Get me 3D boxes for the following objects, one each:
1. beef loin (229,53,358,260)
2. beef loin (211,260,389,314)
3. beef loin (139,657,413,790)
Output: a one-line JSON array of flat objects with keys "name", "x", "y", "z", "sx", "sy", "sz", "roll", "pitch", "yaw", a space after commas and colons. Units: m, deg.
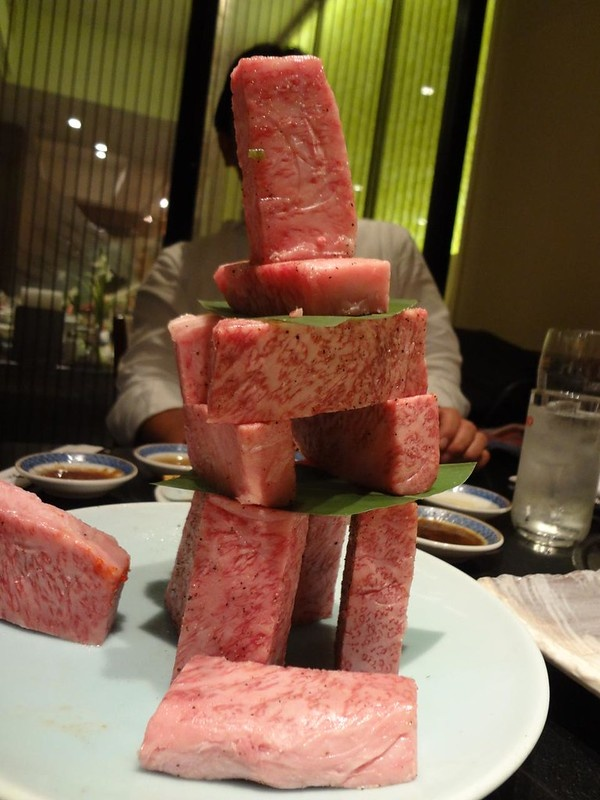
[{"name": "beef loin", "x": -0.007, "y": -0.333, "z": 0.980, "sx": 0.152, "sy": 0.272, "sz": 0.101, "roll": -14, "pitch": 22, "yaw": -13}, {"name": "beef loin", "x": -0.015, "y": -0.158, "z": 0.973, "sx": 0.268, "sy": 0.087, "sz": 0.140, "roll": 8, "pitch": 7, "yaw": 33}, {"name": "beef loin", "x": -0.013, "y": 0.370, "z": 0.797, "sx": 0.293, "sy": 0.063, "sz": 0.173, "roll": 5, "pitch": 6, "yaw": 6}]
